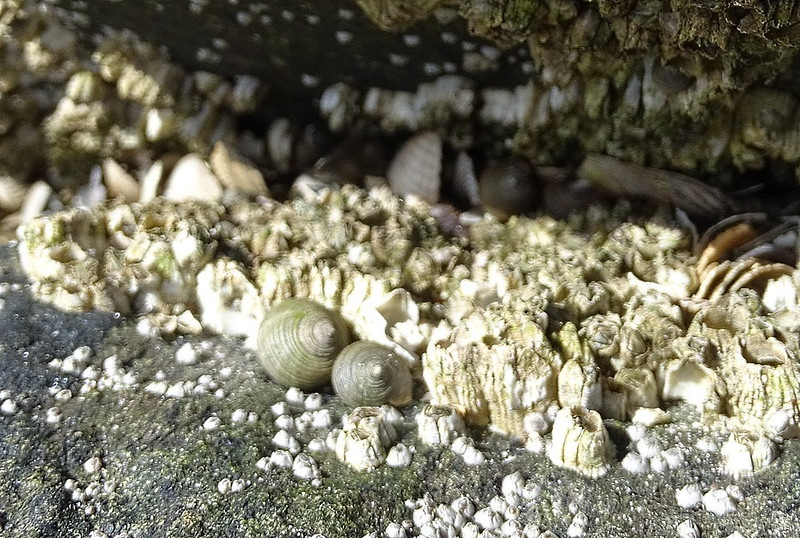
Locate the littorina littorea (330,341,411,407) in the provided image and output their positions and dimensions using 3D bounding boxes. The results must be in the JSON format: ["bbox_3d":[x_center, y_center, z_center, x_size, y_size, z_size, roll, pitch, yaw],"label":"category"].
[{"bbox_3d":[-0.110,0.403,3.462,0.313,0.162,0.255,-4,64,-15],"label":"littorina littorea"}]

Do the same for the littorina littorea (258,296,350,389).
[{"bbox_3d":[-0.405,0.293,3.520,0.345,0.207,0.343,25,60,0],"label":"littorina littorea"}]
